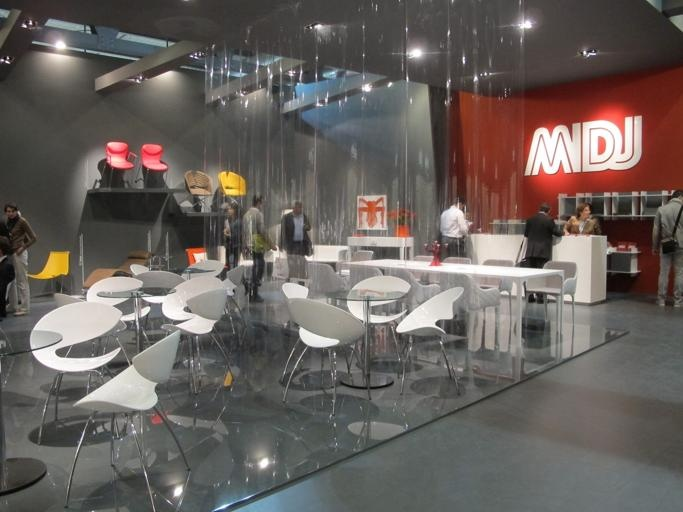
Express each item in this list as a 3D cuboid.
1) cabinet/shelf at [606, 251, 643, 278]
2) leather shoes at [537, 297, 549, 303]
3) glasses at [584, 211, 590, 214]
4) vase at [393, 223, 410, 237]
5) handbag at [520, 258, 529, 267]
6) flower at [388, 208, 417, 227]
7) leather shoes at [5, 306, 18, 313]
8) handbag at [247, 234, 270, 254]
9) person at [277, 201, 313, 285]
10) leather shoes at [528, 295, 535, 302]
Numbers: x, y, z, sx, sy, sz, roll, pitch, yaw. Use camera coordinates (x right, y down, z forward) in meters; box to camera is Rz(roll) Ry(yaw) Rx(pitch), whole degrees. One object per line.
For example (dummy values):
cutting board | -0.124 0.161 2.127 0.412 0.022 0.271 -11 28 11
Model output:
cabinet/shelf | 4.993 0.100 9.417 0.356 0.694 0.654 -3 4 -41
leather shoes | 2.965 0.658 7.833 0.147 0.120 0.161 -2 1 39
glasses | 4.090 -0.740 8.832 0.046 0.077 0.062 5 3 -13
vase | 0.607 -0.261 5.312 0.108 0.134 0.113 4 6 38
handbag | 2.845 0.093 8.266 0.118 0.113 0.095 11 12 40
flower | 0.607 -0.405 5.319 0.176 0.150 0.194 3 4 23
leather shoes | -4.925 0.807 7.876 0.155 0.078 0.218 1 7 -42
handbag | -0.919 -0.126 5.776 0.175 0.217 0.073 4 25 16
person | -0.478 -0.108 5.678 0.328 1.006 0.283 -3 29 -8
leather shoes | 2.906 0.650 8.097 0.081 0.183 0.170 1 0 11
